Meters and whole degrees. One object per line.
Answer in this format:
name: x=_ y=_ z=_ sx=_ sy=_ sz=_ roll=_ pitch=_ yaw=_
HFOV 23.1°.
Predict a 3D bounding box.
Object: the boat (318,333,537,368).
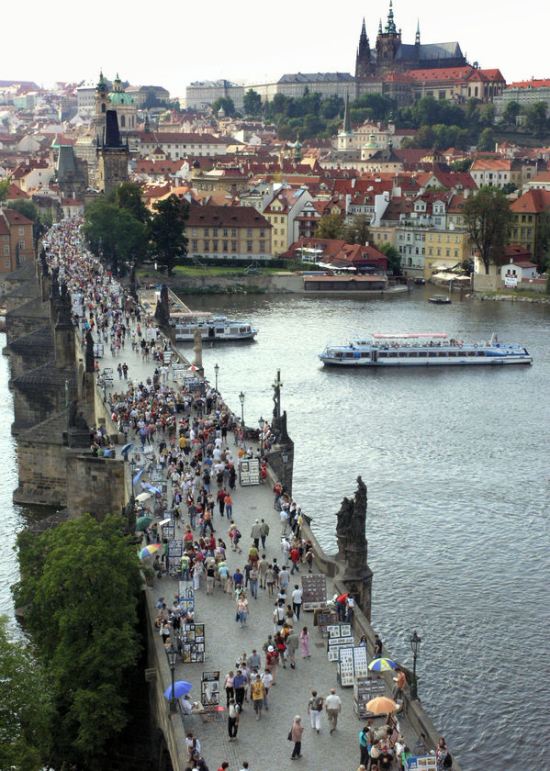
boat: x=9.392 y=-2.047 z=83.977 sx=8.004 sy=1.564 sz=1.973 roll=-2 pitch=10 yaw=-8
